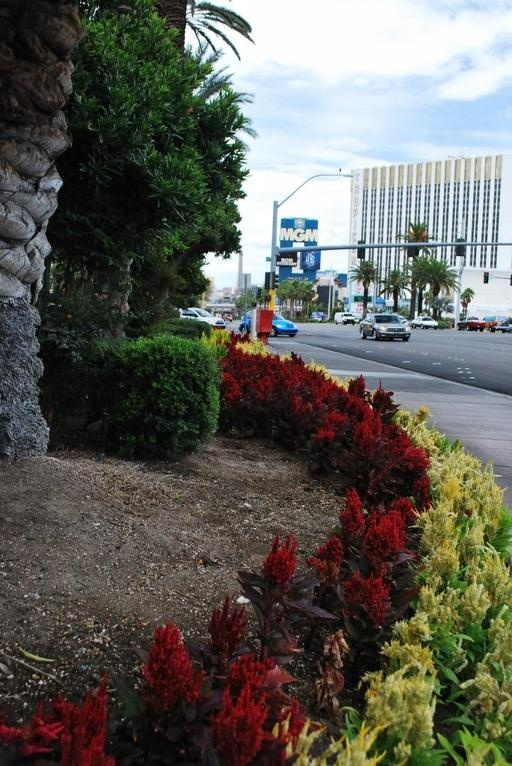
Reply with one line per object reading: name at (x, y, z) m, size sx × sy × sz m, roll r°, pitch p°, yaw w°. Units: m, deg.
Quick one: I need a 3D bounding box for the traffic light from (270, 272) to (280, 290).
traffic light at (0.749, -4.332, 26.010) m, size 0.271 × 0.720 × 0.697 m, roll 9°, pitch 7°, yaw 14°
